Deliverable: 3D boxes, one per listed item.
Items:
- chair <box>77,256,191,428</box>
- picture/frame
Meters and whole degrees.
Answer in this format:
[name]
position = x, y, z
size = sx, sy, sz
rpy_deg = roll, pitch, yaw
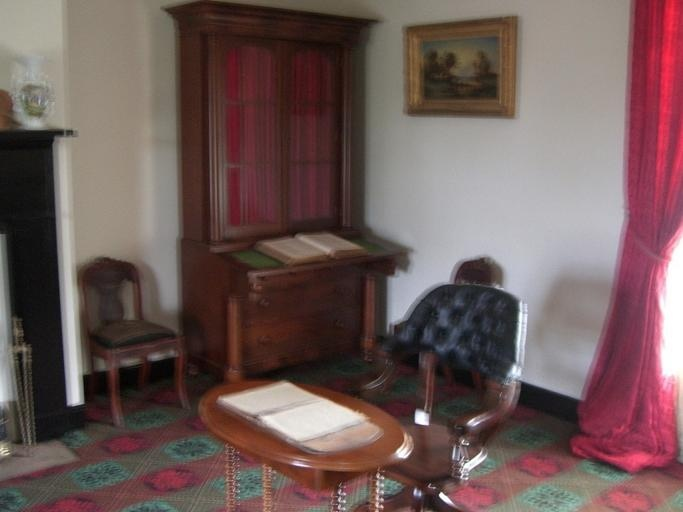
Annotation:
[chair]
position = -1.698, 0.610, 4.535
size = 0.594, 1.138, 0.844
rpy_deg = -10, 16, -36
[picture/frame]
position = 1.011, -1.562, 4.633
size = 1.037, 0.669, 0.078
rpy_deg = 7, 14, 37
